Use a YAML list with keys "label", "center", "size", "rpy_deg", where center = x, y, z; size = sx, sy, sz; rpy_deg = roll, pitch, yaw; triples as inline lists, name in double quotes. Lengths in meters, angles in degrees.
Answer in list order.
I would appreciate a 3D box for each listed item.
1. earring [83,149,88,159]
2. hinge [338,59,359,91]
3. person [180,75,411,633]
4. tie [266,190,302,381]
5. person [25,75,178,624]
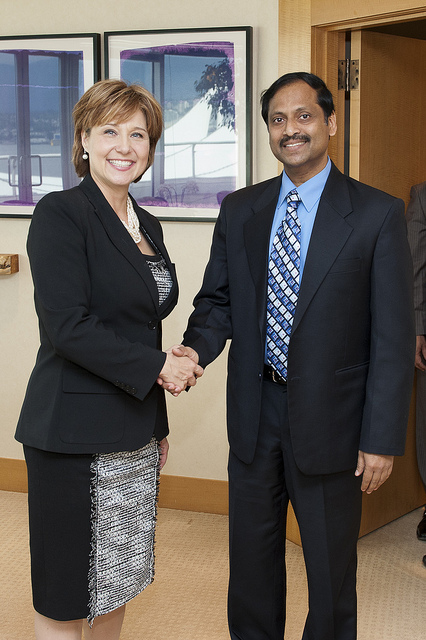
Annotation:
- label: "earring"
  center: [-0.333, -0.433, 1.438]
  size: [0.010, 0.020, 0.012]
  rpy_deg: [3, 14, 21]
- label: "hinge"
  center: [0.607, -1.101, 2.475]
  size: [0.090, 0.129, 0.023]
  rpy_deg: [1, 14, 11]
- label: "person"
  center: [0.205, 0.140, 1.498]
  size: [0.624, 1.541, 0.366]
  rpy_deg: [4, 15, 21]
- label: "tie"
  center: [0.179, -0.092, 1.404]
  size: [0.088, 0.460, 0.161]
  rpy_deg: [0, 14, 7]
- label: "person"
  center: [-0.268, 0.070, 1.384]
  size: [0.352, 1.315, 0.473]
  rpy_deg: [0, 14, 7]
